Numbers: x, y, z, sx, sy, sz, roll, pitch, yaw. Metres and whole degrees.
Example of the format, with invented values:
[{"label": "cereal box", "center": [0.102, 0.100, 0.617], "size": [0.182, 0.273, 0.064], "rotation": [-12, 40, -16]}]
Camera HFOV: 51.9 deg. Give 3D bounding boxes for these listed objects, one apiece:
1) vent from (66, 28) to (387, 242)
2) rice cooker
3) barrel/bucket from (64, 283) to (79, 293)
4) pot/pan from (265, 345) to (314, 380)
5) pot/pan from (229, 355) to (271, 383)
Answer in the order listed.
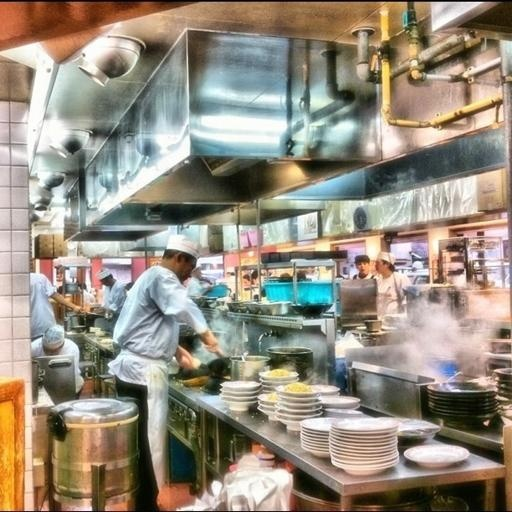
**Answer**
[{"label": "vent", "center": [-0.384, -0.695, 3.697], "size": [1.031, 0.629, 2.680], "rotation": [-1, -3, -25]}, {"label": "rice cooker", "center": [-0.843, 1.075, 2.753], "size": [0.395, 0.672, 0.372], "rotation": [-1, 4, -32]}, {"label": "barrel/bucket", "center": [-3.352, 0.592, 9.597], "size": [0.174, 0.113, 0.166], "rotation": [3, 0, 0]}, {"label": "pot/pan", "center": [0.182, 0.603, 3.011], "size": [0.193, 0.162, 0.253], "rotation": [0, 1, -19]}, {"label": "pot/pan", "center": [-0.041, 0.657, 3.106], "size": [0.188, 0.108, 0.186], "rotation": [1, -7, 1]}]
